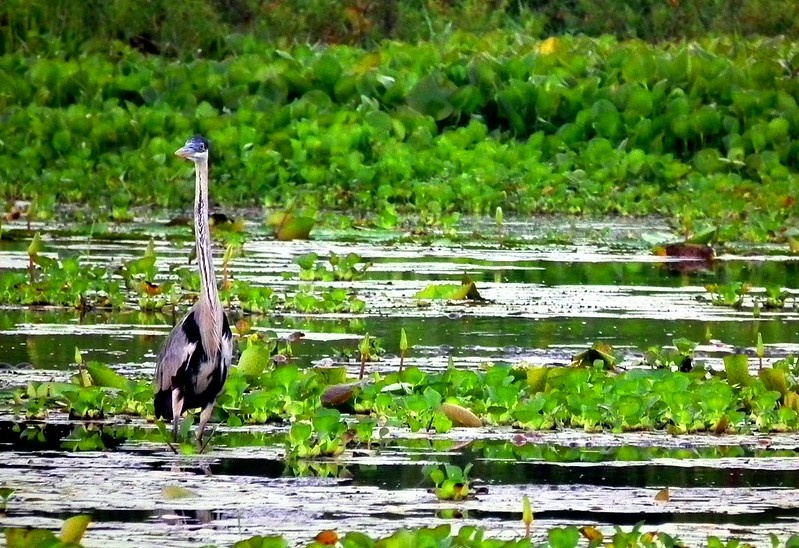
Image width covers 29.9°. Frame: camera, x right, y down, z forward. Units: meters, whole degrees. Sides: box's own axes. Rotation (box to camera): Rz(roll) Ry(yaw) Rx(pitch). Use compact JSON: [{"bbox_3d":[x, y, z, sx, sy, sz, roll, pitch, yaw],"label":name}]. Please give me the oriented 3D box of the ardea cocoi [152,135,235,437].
[{"bbox_3d":[-1.162,0.239,8.358,0.425,1.410,0.570,-2,15,-9],"label":"ardea cocoi"}]
